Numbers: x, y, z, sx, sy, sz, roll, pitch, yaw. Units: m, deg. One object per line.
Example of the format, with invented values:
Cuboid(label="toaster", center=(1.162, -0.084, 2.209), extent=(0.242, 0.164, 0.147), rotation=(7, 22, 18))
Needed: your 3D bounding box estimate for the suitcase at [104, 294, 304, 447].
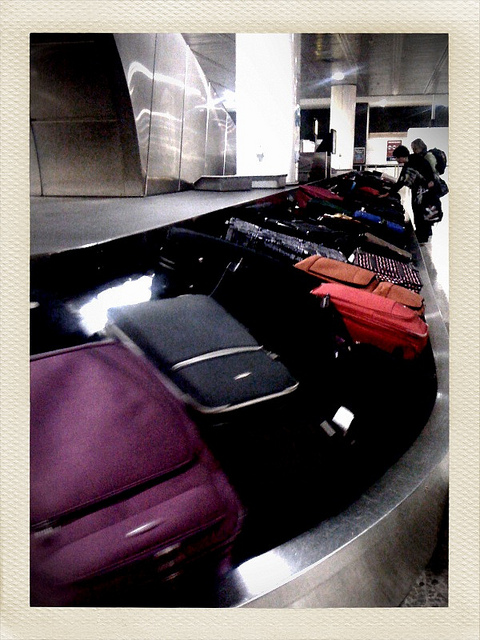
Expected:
Cuboid(label="suitcase", center=(-0.072, 0.109, 1.144), extent=(0.303, 0.150, 0.508), rotation=(-13, 58, -32))

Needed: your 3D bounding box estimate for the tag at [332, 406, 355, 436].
Cuboid(label="tag", center=(0.289, 0.283, 1.273), extent=(0.027, 0.072, 0.072), rotation=(11, 18, 44))

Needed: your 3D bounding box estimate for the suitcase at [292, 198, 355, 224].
Cuboid(label="suitcase", center=(0.414, -0.567, 2.390), extent=(0.238, 0.095, 0.211), rotation=(3, 26, -17))

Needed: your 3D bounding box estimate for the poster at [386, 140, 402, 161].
Cuboid(label="poster", center=(0.535, -0.592, 1.595), extent=(0.028, 0.070, 0.084), rotation=(-4, 15, -12))

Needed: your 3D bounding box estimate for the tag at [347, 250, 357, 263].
Cuboid(label="tag", center=(0.448, -0.253, 1.827), extent=(0.017, 0.029, 0.088), rotation=(-19, 26, 32))

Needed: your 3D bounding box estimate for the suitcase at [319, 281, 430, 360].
Cuboid(label="suitcase", center=(0.431, -0.002, 1.487), extent=(0.344, 0.128, 0.210), rotation=(39, 60, -3))
